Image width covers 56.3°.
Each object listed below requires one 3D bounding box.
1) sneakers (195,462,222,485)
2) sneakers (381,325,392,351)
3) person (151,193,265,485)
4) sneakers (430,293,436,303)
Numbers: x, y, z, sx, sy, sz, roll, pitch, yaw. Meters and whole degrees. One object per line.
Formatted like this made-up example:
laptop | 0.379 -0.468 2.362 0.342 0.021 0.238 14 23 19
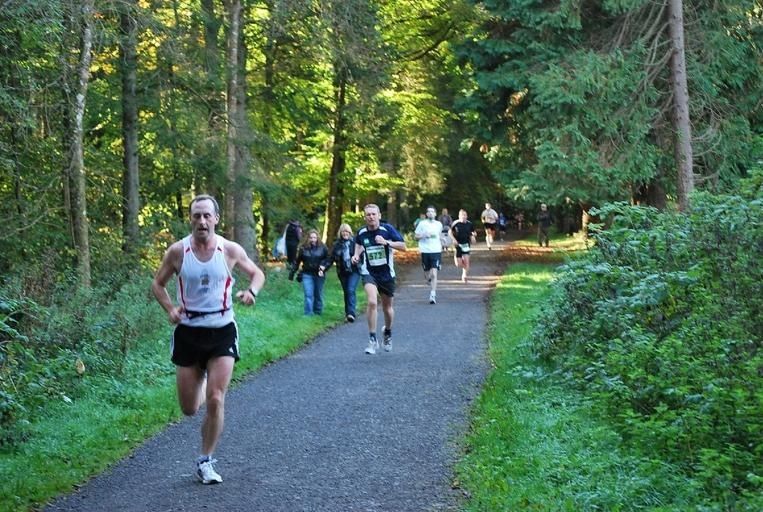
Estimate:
sneakers | -1.989 2.533 8.260 0.154 0.189 0.347 2 -9 -34
sneakers | 0.106 1.548 13.327 0.134 0.483 0.188 -2 -2 -11
person | -2.044 0.966 8.359 1.191 3.326 0.587 -3 6 -11
sneakers | 1.366 1.110 18.715 0.138 0.259 0.281 -2 6 4
